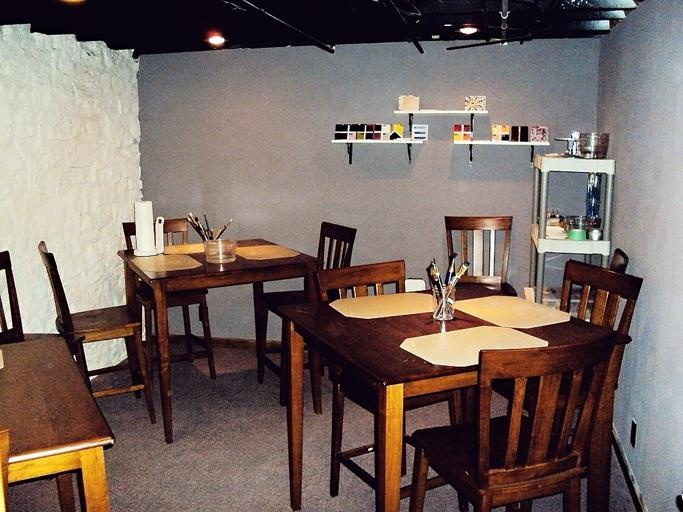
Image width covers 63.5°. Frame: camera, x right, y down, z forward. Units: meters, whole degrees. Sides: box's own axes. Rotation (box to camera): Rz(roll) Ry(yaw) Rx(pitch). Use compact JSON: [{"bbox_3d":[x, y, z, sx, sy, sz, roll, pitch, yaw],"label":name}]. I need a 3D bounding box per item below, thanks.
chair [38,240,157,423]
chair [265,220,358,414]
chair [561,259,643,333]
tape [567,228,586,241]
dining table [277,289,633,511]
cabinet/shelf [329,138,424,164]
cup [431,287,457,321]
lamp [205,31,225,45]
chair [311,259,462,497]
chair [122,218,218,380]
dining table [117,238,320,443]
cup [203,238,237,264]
[{"bbox_3d":[-1.463,0.431,3.327,0.583,1.259,0.601,-12,31,-24],"label":"chair"},{"bbox_3d":[-0.137,0.386,3.775,0.557,1.193,0.525,-14,11,-40],"label":"chair"},{"bbox_3d":[1.265,0.192,2.661,0.291,0.428,0.269,7,13,-37],"label":"chair"},{"bbox_3d":[1.441,-0.142,3.390,0.078,0.051,0.077,-9,13,-38],"label":"tape"},{"bbox_3d":[0.370,0.538,2.366,0.997,0.951,0.995,-9,20,-24],"label":"dining table"},{"bbox_3d":[0.302,-0.842,4.405,0.748,0.199,0.270,-2,10,0],"label":"cabinet/shelf"},{"bbox_3d":[0.452,0.206,2.532,0.121,0.185,0.133,1,9,0],"label":"cup"},{"bbox_3d":[-0.985,-1.698,4.327,0.154,0.080,0.201,-4,10,-12],"label":"lamp"},{"bbox_3d":[0.263,0.666,2.717,0.563,1.206,0.582,-6,12,-35],"label":"chair"},{"bbox_3d":[-1.271,0.330,4.077,0.581,1.157,0.578,-4,12,-17],"label":"chair"},{"bbox_3d":[-0.866,0.566,3.950,1.253,1.185,1.140,-7,14,-28],"label":"dining table"},{"bbox_3d":[-0.787,-0.040,3.527,0.159,0.113,0.161,2,6,0],"label":"cup"}]
